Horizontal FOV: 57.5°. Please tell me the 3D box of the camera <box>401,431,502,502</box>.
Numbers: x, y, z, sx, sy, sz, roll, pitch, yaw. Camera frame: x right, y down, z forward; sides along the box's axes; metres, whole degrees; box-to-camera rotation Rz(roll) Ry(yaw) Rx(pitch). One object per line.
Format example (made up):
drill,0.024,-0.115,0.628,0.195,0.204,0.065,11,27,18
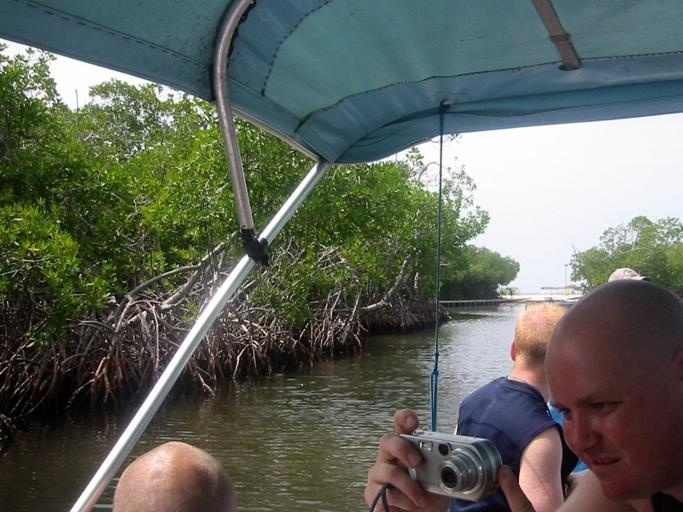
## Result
camera,0.296,0.602,1.772,0.281,0.160,0.102,-5,-6,43
